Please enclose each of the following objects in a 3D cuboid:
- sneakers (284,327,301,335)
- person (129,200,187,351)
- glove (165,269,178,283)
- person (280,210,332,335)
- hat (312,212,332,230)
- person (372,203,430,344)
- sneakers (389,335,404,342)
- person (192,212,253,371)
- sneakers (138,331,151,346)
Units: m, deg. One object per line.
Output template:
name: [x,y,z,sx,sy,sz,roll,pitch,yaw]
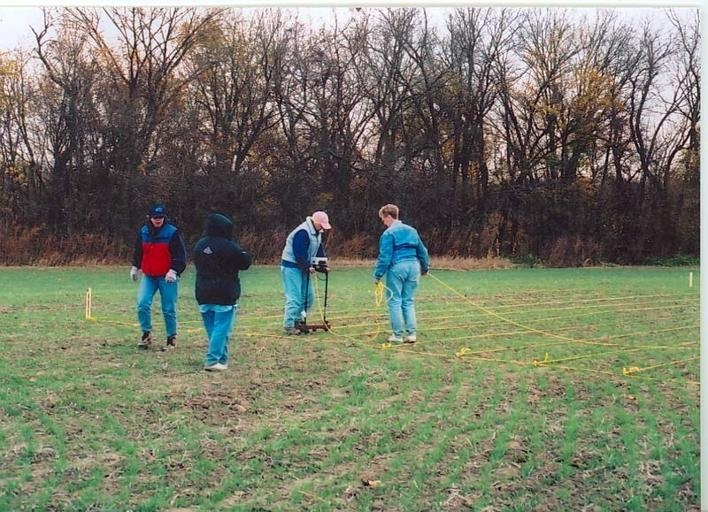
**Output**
sneakers: [-1.189,1.410,15.594,0.318,0.143,0.121,-2,0,8]
person: [-3.460,0.362,14.475,0.879,2.465,0.880,2,-1,-16]
glove: [-3.156,0.338,14.223,0.232,0.239,0.200,2,-1,-28]
person: [-0.962,0.318,15.612,0.842,2.279,0.743,2,-1,-2]
hat: [-0.646,-0.664,15.420,0.299,0.272,0.295,2,-1,-4]
person: [0.843,0.322,15.209,0.971,2.504,0.484,2,-1,-6]
sneakers: [0.744,1.508,15.093,0.236,0.156,0.125,5,-1,10]
person: [-2.205,0.603,13.466,0.841,2.538,0.483,2,-1,-10]
sneakers: [-3.715,1.457,14.630,0.145,0.276,0.275,7,0,-35]
